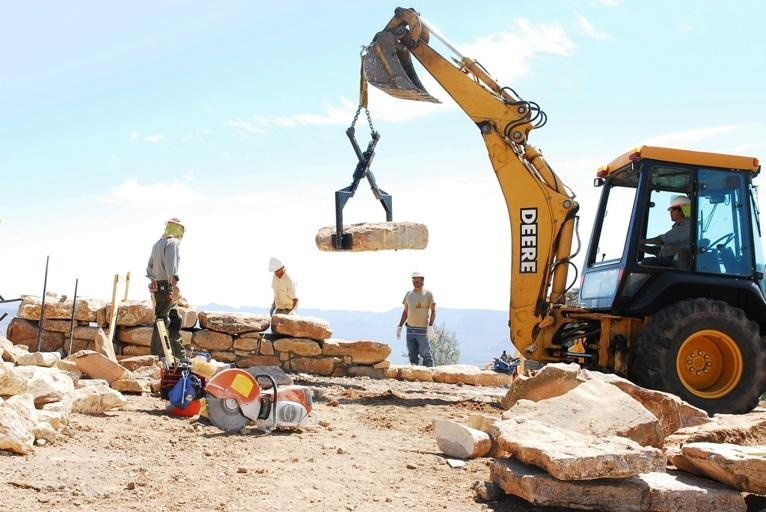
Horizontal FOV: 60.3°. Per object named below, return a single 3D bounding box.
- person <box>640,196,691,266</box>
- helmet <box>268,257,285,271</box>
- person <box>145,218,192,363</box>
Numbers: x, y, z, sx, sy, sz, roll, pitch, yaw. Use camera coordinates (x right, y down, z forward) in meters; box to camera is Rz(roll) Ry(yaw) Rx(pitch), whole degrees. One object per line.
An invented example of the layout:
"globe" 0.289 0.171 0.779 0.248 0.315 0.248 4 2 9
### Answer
"person" 3.772 -0.290 8.846 0.457 1.068 0.458 1 -1 -15
"helmet" -1.636 0.137 10.138 0.183 0.138 0.233 -27 3 -11
"person" -3.090 0.446 9.649 0.708 1.956 0.350 4 0 25
